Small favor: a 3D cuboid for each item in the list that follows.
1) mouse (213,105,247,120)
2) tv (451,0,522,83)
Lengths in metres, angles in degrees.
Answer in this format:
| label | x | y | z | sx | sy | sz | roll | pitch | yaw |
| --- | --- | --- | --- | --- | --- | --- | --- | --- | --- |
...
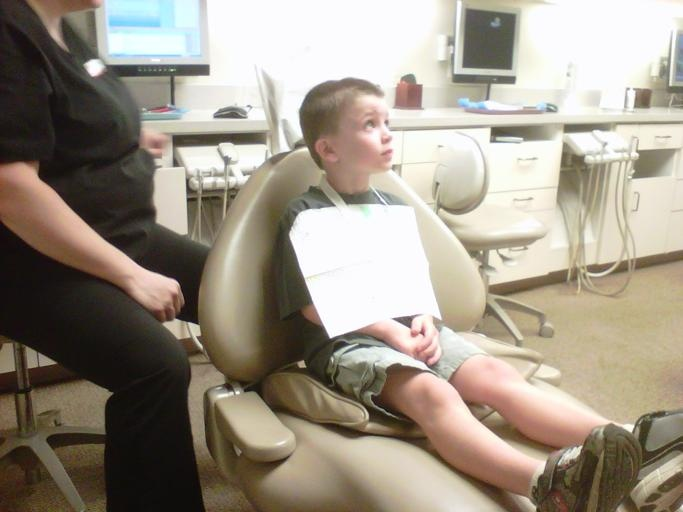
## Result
| label | x | y | z | sx | sy | sz | roll | pitch | yaw |
| --- | --- | --- | --- | --- | --- | --- | --- | --- | --- |
| mouse | -0.449 | -0.582 | 2.212 | 0.133 | 0.039 | 0.261 | -8 | 24 | -13 |
| tv | 0.775 | -1.180 | 3.026 | 0.476 | 0.444 | 0.064 | -1 | 8 | -27 |
